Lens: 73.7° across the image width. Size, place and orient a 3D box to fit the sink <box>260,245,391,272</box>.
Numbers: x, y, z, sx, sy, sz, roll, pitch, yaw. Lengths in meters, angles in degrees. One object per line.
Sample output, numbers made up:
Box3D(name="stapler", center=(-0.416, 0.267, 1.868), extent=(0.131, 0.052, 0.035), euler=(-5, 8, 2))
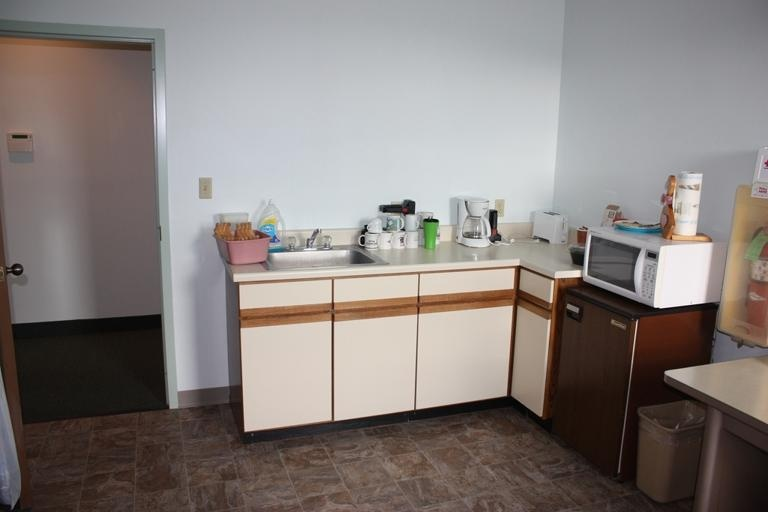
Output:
Box3D(name="sink", center=(-0.366, 0.015, 3.607), extent=(0.838, 0.141, 0.350), euler=(2, 12, 12))

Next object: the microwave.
Box3D(name="microwave", center=(1.620, 0.054, 3.111), extent=(0.479, 0.414, 0.642), euler=(1, 9, -19))

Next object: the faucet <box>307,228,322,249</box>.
Box3D(name="faucet", center=(-0.503, -0.120, 3.667), extent=(0.062, 0.072, 0.190), euler=(8, -20, -18))

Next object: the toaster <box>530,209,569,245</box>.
Box3D(name="toaster", center=(1.334, -0.232, 4.112), extent=(0.161, 0.232, 0.308), euler=(-2, 14, -22))

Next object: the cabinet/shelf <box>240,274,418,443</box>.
Box3D(name="cabinet/shelf", center=(-0.388, 0.595, 3.494), extent=(1.174, 1.016, 0.429), euler=(-1, 7, -17))

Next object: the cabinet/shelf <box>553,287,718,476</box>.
Box3D(name="cabinet/shelf", center=(1.536, 0.781, 3.290), extent=(0.602, 1.008, 0.623), euler=(-1, 9, -19))

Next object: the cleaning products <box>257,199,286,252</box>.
Box3D(name="cleaning products", center=(-0.795, -0.214, 3.583), extent=(0.195, 0.322, 0.263), euler=(-4, 12, -13))

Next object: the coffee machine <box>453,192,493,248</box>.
Box3D(name="coffee machine", center=(0.670, -0.245, 3.865), extent=(0.248, 0.373, 0.380), euler=(-5, 10, -22))
